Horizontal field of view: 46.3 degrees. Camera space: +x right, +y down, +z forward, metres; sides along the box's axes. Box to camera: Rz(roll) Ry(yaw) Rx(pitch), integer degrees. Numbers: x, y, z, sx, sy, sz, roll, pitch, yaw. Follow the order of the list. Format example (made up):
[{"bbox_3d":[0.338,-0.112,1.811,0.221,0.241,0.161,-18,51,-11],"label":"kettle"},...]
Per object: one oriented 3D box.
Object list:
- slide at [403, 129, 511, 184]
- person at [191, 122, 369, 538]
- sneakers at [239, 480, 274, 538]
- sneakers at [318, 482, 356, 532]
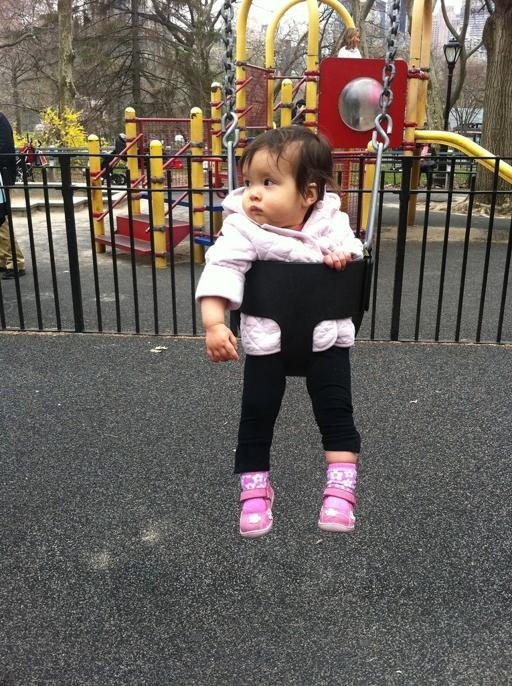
[{"bbox_3d":[1.588,-1.497,4.739,0.679,0.426,1.526,3,15,13],"label":"slide"},{"bbox_3d":[0.077,0.050,1.719,0.446,1.279,0.546,2,14,11],"label":"person"},{"bbox_3d":[0.000,0.440,1.602,0.063,0.075,0.185,-1,14,5],"label":"sneakers"},{"bbox_3d":[0.214,0.466,1.606,0.087,0.170,0.137,2,14,9],"label":"sneakers"}]
